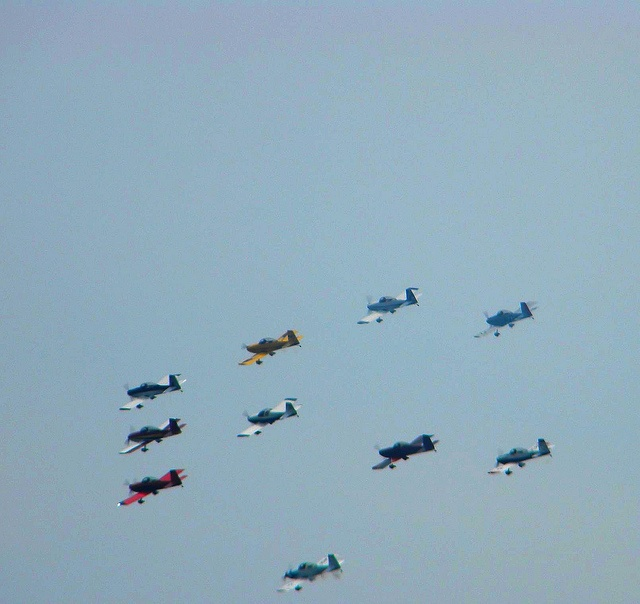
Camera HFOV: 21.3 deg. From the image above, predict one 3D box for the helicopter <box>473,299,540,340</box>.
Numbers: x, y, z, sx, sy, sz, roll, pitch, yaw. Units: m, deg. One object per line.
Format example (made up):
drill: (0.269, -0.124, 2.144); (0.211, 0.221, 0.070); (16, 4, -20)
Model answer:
helicopter: (10.017, 0.888, 89.362); (2.074, 2.290, 1.660); (-7, 2, -29)

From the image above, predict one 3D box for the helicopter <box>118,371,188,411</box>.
helicopter: (-10.585, 5.797, 107.514); (3.184, 2.154, 2.055); (1, -1, -11)

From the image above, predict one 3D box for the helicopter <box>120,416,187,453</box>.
helicopter: (-10.276, 8.414, 104.988); (3.117, 2.132, 3.376); (1, -1, -14)

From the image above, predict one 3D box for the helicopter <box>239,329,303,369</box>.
helicopter: (-2.541, 2.488, 91.112); (2.365, 3.565, 4.079); (-8, -1, 17)

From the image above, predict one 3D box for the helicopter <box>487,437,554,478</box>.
helicopter: (12.560, 9.603, 104.570); (3.523, 1.927, 5.203); (-9, 9, 25)

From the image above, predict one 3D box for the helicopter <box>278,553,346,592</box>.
helicopter: (-0.506, 16.340, 101.952); (3.263, 2.015, 0.936); (1, -1, -10)
